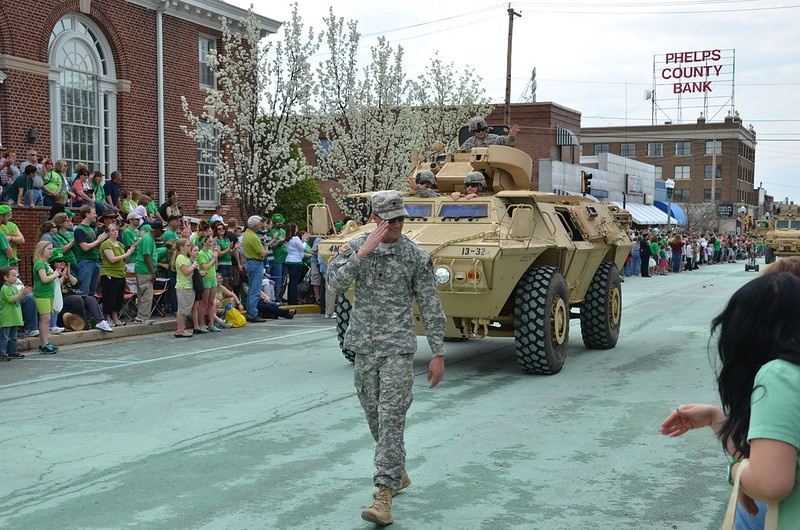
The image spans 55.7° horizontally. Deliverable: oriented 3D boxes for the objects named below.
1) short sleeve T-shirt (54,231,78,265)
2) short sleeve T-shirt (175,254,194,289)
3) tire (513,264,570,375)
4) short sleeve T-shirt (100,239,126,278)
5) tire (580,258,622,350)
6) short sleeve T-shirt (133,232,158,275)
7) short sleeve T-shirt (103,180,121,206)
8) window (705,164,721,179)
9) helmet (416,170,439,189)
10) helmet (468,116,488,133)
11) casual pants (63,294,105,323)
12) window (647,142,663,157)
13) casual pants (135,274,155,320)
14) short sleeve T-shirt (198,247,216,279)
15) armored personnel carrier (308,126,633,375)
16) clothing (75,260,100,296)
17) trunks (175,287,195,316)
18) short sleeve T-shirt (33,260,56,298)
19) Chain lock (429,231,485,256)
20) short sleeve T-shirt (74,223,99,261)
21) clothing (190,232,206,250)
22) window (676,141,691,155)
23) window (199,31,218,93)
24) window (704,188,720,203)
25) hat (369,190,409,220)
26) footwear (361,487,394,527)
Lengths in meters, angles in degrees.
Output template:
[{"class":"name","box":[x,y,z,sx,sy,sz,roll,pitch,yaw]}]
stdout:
[{"class":"short sleeve T-shirt","box":[-6.331,-0.326,14.453,0.399,0.694,0.249,-5,8,-44]},{"class":"short sleeve T-shirt","box":[-4.206,0.021,14.963,0.328,0.508,0.500,3,8,6]},{"class":"tire","box":[2.106,0.832,11.458,0.577,1.589,0.937,4,7,33]},{"class":"short sleeve T-shirt","box":[-5.540,-0.123,14.638,0.441,0.735,0.746,1,3,13]},{"class":"tire","box":[3.557,0.708,13.596,0.394,1.261,1.277,3,24,29]},{"class":"short sleeve T-shirt","box":[-5.165,-0.251,15.434,0.390,0.860,0.301,-2,6,-19]},{"class":"short sleeve T-shirt","box":[-6.945,-1.752,18.356,0.371,0.609,0.898,-2,6,-21]},{"class":"window","box":[37.058,-11.336,90.365,1.975,1.592,0.203,-4,-10,3]},{"class":"helmet","box":[0.435,-1.498,12.957,0.290,0.281,0.371,1,-18,45]},{"class":"helmet","box":[1.397,-2.542,13.665,0.312,0.265,0.335,-10,3,-1]},{"class":"casual pants","box":[-6.039,0.860,14.500,0.724,0.618,0.347,-2,6,-23]},{"class":"window","box":[31.331,-14.453,93.308,1.873,1.946,0.270,-2,-9,39]},{"class":"casual pants","box":[-5.231,0.651,15.631,0.307,0.982,0.316,-2,6,-19]},{"class":"short sleeve T-shirt","box":[-3.876,-0.025,15.310,0.260,0.607,0.425,0,6,-2]},{"class":"armored personnel carrier","box":[1.585,-0.294,12.851,3.330,2.855,5.500,-1,-3,30]},{"class":"clothing","box":[-6.063,0.230,14.775,0.330,0.691,0.448,1,6,3]},{"class":"trunks","box":[-4.220,0.722,15.044,0.428,0.588,0.333,-3,7,-34]},{"class":"short sleeve T-shirt","box":[-6.161,0.233,13.189,0.341,0.661,0.318,-2,7,-26]},{"class":"Chain lock","box":[0.847,-0.320,11.135,1.025,0.311,0.106,-15,9,-29]},{"class":"short sleeve T-shirt","box":[-6.016,-0.434,14.713,0.294,0.753,0.544,4,7,30]},{"class":"clothing","box":[-4.184,-0.509,15.827,0.287,0.368,0.362,13,-19,-25]},{"class":"window","box":[34.072,-14.359,91.381,1.808,1.785,0.180,2,8,42]},{"class":"window","box":[-7.023,-7.366,27.234,0.922,1.774,0.142,24,28,37]},{"class":"window","box":[37.222,-8.554,90.846,1.767,1.426,0.177,0,-3,11]},{"class":"hat","box":[-0.139,-0.551,6.775,0.228,0.149,0.304,-4,9,-19]},{"class":"footwear","box":[-0.170,2.086,6.525,0.198,0.313,0.376,6,8,44]}]
